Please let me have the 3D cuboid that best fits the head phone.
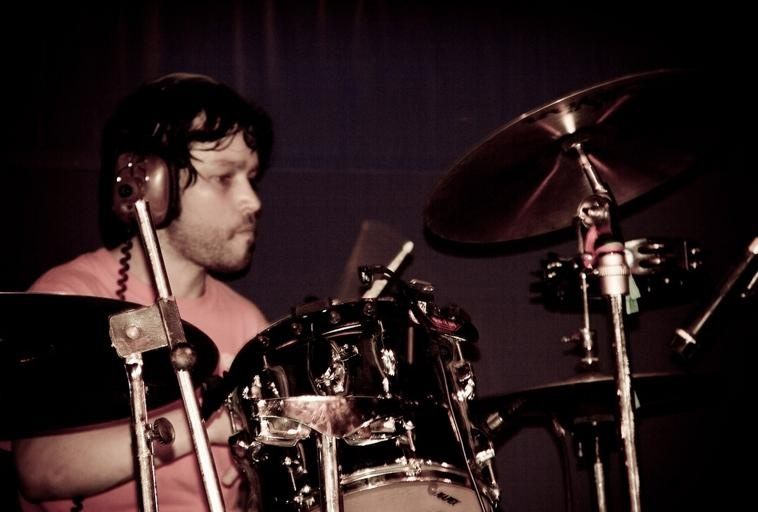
[{"bbox_3d":[-1.030,-0.305,3.807,0.290,0.337,0.245,2,-4,-20],"label":"head phone"}]
